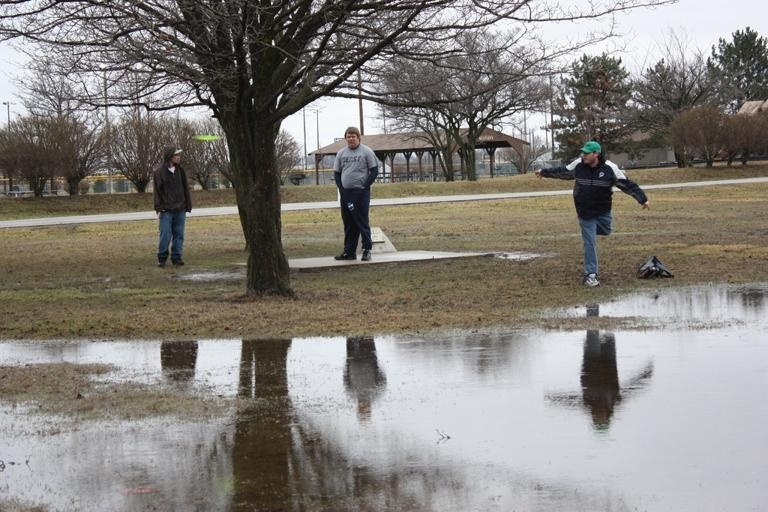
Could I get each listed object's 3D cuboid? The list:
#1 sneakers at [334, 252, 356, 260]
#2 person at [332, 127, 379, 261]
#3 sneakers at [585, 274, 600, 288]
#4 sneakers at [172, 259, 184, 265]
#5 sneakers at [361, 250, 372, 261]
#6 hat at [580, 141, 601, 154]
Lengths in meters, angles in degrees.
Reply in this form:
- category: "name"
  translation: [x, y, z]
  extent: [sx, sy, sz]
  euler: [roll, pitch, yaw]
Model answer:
- category: "sneakers"
  translation: [-0.762, 0.032, 23.249]
  extent: [0.432, 0.187, 0.156]
  euler: [7, 8, 1]
- category: "person"
  translation: [-0.510, -1.046, 22.779]
  extent: [0.716, 2.320, 0.969]
  euler: [-7, 7, -30]
- category: "sneakers"
  translation: [3.451, 0.411, 19.679]
  extent: [0.156, 0.185, 0.275]
  euler: [-2, -11, 4]
- category: "sneakers"
  translation: [-4.126, 0.147, 23.680]
  extent: [0.092, 0.107, 0.269]
  euler: [0, -3, -37]
- category: "sneakers"
  translation: [-0.337, 0.016, 23.126]
  extent: [0.105, 0.202, 0.312]
  euler: [-1, -8, 11]
- category: "hat"
  translation: [3.530, -1.801, 20.080]
  extent: [0.321, 0.185, 0.227]
  euler: [0, 3, -15]
